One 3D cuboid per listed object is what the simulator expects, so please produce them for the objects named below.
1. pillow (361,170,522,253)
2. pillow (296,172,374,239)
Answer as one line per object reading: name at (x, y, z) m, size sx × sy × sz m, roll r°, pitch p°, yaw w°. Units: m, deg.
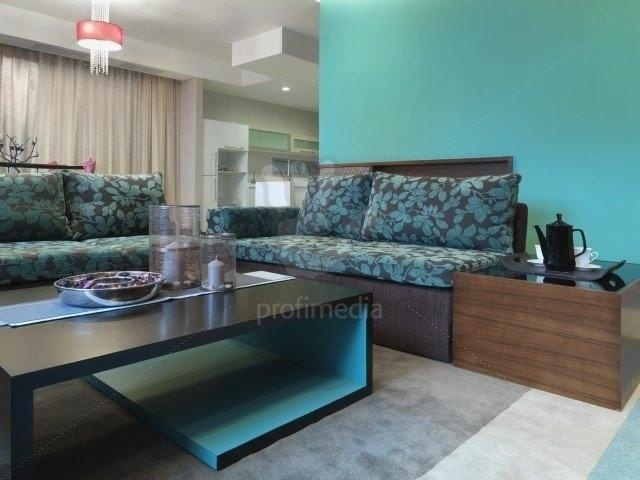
pillow at (0.758, -0.160, 2.593) m, size 0.640 × 0.275 × 0.199 m, roll 4°, pitch -16°, yaw 39°
pillow at (0.145, -0.257, 3.121) m, size 0.604 × 0.483 × 0.176 m, roll 4°, pitch -11°, yaw 36°
